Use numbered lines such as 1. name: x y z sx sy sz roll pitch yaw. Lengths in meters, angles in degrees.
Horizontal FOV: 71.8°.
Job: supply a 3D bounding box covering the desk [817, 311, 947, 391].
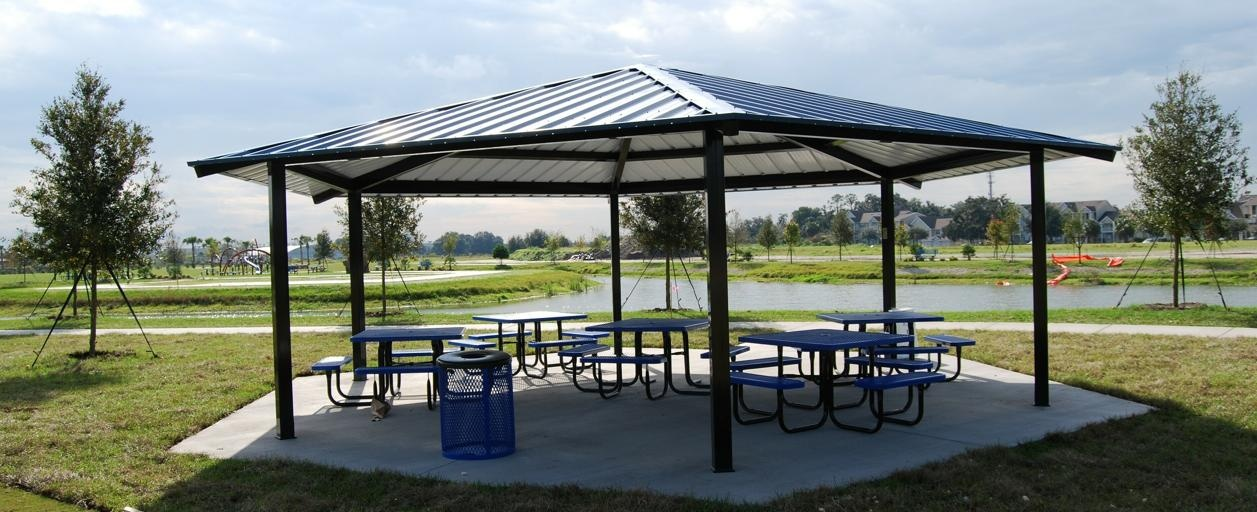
1. desk: 10.129 3.705 35.187 3.869 1.842 3.468 -1 -2 -30
